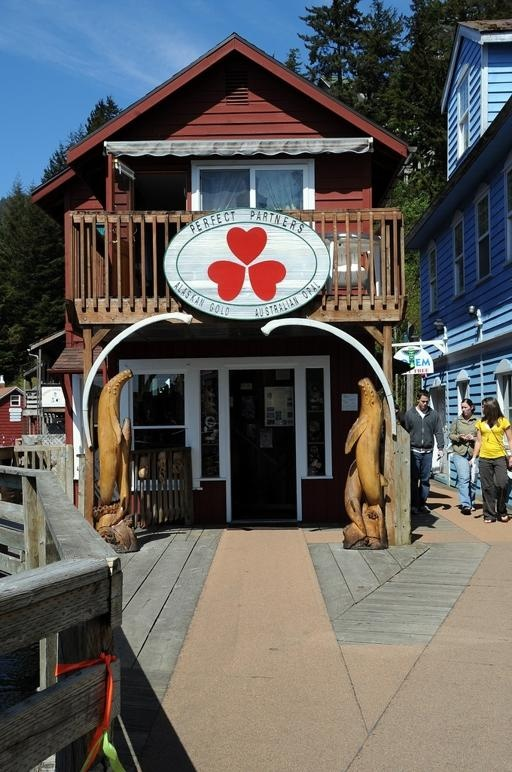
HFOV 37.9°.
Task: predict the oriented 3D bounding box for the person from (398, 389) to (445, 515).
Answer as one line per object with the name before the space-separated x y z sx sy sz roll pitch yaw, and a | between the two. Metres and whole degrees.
person | 2.438 0.965 10.938 0.527 1.795 1.040 -1 -3 12

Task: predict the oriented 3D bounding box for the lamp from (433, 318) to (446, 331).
lamp | 3.894 -1.287 15.886 0.199 0.262 0.235 1 -6 9
